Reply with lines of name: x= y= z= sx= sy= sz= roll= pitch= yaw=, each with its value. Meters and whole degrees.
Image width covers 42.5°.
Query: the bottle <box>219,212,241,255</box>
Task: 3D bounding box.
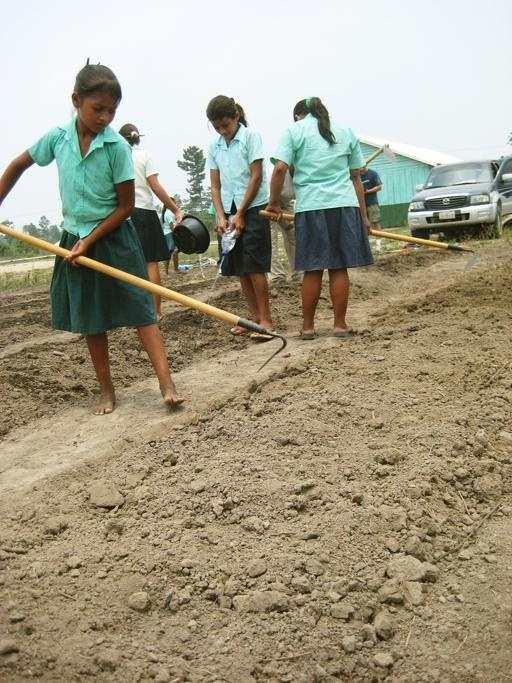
bottle: x=-0.185 y=-0.747 z=4.621 sx=0.112 sy=0.224 sz=0.195 roll=-15 pitch=11 yaw=-20

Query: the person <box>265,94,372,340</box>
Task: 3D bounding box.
person: x=0.474 y=-0.854 z=4.377 sx=0.675 sy=1.605 sz=0.507 roll=-15 pitch=11 yaw=-15

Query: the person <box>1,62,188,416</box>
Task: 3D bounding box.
person: x=-0.818 y=-0.453 z=3.287 sx=0.604 sy=1.705 sz=0.569 roll=-14 pitch=11 yaw=-12
